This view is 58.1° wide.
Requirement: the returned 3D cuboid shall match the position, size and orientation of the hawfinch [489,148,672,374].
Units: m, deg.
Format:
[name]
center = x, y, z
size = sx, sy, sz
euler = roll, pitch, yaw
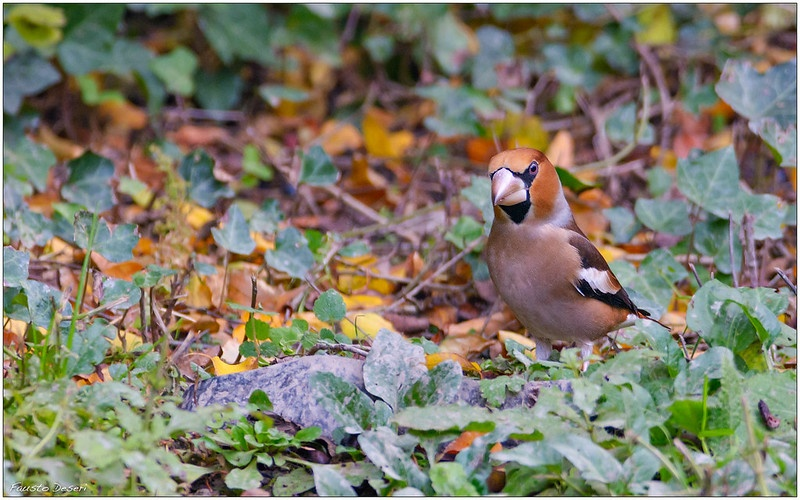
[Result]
[hawfinch]
center = 0.851, 0.026, 4.008
size = 0.673, 1.179, 0.524
euler = 8, 22, 38
